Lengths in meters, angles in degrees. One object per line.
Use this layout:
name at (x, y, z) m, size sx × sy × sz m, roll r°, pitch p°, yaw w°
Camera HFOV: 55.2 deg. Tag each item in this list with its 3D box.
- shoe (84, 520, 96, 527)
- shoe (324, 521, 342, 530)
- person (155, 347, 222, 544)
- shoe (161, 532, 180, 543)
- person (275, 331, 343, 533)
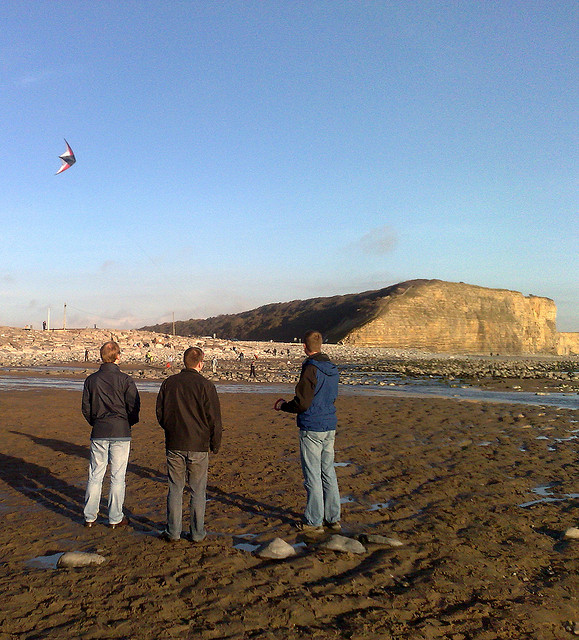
shoe at (-2.352, 2.370, 6.490) m, size 0.077 × 0.046 × 0.069 m, roll 1°, pitch -6°, yaw 0°
shoe at (0.520, 2.429, 6.602) m, size 0.202 × 0.085 × 0.120 m, roll 0°, pitch 0°, yaw 4°
person at (-1.127, 1.355, 6.150) m, size 0.690 × 1.581 × 0.448 m, roll 0°, pitch 0°, yaw -12°
shoe at (-1.309, 2.351, 6.033) m, size 0.252 × 0.073 × 0.101 m, roll 0°, pitch 0°, yaw 34°
person at (0.284, 1.298, 6.666) m, size 0.657 × 2.345 × 0.525 m, roll 0°, pitch 0°, yaw 3°
